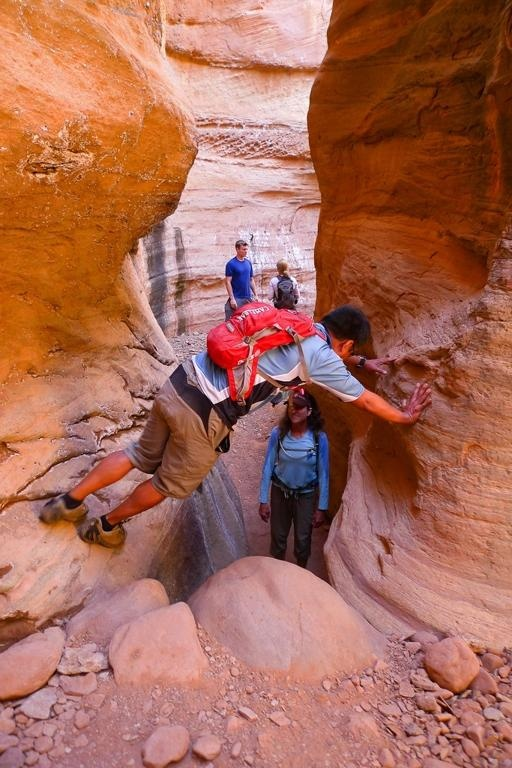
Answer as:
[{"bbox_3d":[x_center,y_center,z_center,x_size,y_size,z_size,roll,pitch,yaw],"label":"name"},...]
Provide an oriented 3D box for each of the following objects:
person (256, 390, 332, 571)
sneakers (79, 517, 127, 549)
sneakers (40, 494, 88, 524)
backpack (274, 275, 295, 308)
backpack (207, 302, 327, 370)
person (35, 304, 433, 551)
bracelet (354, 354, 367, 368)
[{"bbox_3d":[0.220,0.631,2.903,0.384,1.198,0.331,5,9,11],"label":"person"},{"bbox_3d":[-0.564,0.567,1.922,0.169,0.108,0.092,15,38,-18],"label":"sneakers"},{"bbox_3d":[-0.686,0.448,1.838,0.066,0.076,0.149,-38,-14,20],"label":"sneakers"},{"bbox_3d":[0.292,-0.911,5.052,0.230,0.324,0.316,1,0,-2],"label":"backpack"},{"bbox_3d":[0.016,-0.152,1.736,0.298,0.139,0.209,-26,44,-12],"label":"backpack"},{"bbox_3d":[-0.053,0.143,1.931,1.503,0.840,0.502,-8,25,-25],"label":"person"},{"bbox_3d":[0.492,-0.103,2.356,0.031,0.060,0.077,-25,3,-24],"label":"bracelet"}]
